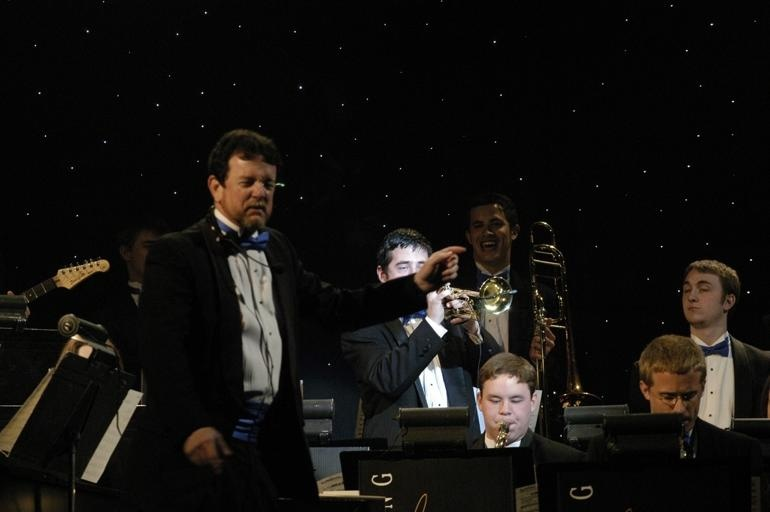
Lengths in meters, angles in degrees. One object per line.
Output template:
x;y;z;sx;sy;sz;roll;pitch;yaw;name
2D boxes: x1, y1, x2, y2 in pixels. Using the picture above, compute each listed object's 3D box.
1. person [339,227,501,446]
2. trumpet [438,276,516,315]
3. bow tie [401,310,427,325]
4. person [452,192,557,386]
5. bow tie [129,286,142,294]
0.179;0.434;4.534;0.805;1.317;1.215;-1;2;0;person
0.520;0.263;4.553;0.308;0.294;0.650;2;4;5;trumpet
0.159;0.356;4.097;0.153;0.054;0.161;1;5;-5;bow tie
0.835;0.175;5.056;0.529;1.347;0.450;0;6;-8;person
-1.683;0.231;4.845;0.073;0.058;0.075;-2;-19;6;bow tie
